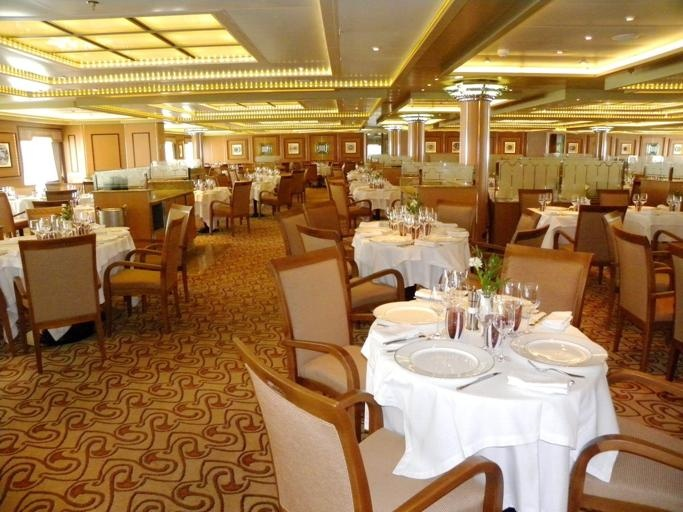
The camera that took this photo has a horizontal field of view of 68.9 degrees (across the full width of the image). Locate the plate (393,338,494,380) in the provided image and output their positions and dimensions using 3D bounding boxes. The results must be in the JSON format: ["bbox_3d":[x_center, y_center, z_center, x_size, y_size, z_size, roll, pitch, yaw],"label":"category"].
[{"bbox_3d":[0.494,0.504,2.412,0.436,0.083,0.374,7,13,40],"label":"plate"}]

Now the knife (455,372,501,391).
[{"bbox_3d":[0.619,0.577,2.258,0.309,0.012,0.042,-6,36,-23],"label":"knife"}]

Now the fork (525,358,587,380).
[{"bbox_3d":[1.017,0.537,2.331,0.220,0.027,0.028,12,41,26],"label":"fork"}]

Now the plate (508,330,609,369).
[{"bbox_3d":[1.073,0.492,2.435,0.390,0.030,0.350,-5,6,-31],"label":"plate"}]
